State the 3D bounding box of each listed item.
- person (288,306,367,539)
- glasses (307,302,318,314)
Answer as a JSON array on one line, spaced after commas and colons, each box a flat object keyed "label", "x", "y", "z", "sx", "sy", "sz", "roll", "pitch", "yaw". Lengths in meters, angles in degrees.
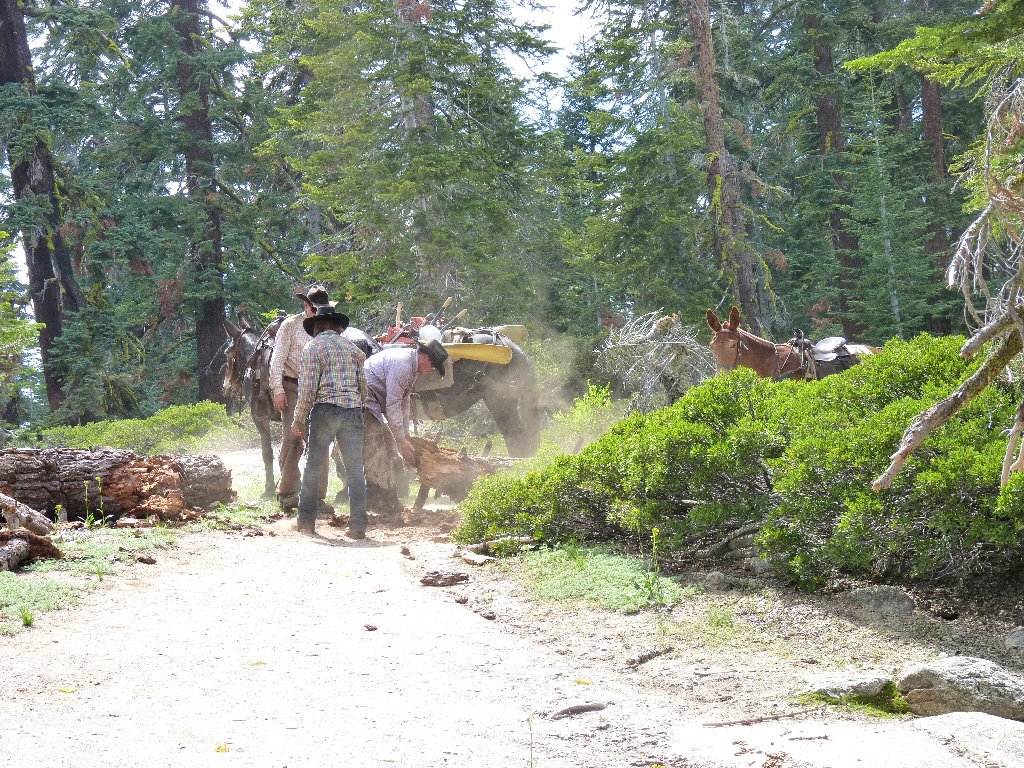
[{"label": "person", "x": -2.445, "y": 0.432, "z": 17.041, "sx": 0.965, "sy": 2.820, "sz": 1.406, "roll": 0, "pitch": 0, "yaw": -34}, {"label": "glasses", "x": -2.828, "y": -1.056, "z": 17.183, "sx": 0.104, "sy": 0.160, "sz": 0.149, "roll": -4, "pitch": 23, "yaw": -26}]
